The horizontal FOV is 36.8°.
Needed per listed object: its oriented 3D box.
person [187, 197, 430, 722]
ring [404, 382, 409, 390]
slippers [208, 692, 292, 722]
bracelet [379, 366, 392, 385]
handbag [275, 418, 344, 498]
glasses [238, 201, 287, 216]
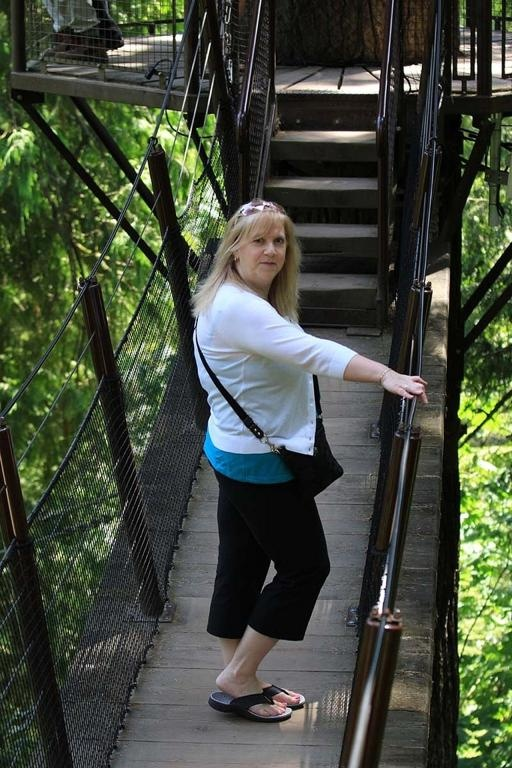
[{"bbox_3d":[0.032,0.335,2.146,0.420,1.628,0.652,1,16,-13],"label":"person"},{"bbox_3d":[0.330,0.005,1.697,0.009,0.013,0.004,-3,-4,22],"label":"ring"},{"bbox_3d":[-0.018,0.990,2.423,0.253,0.082,0.102,4,5,18],"label":"slippers"},{"bbox_3d":[0.292,-0.019,1.748,0.014,0.035,0.031,2,-3,-7],"label":"bracelet"},{"bbox_3d":[0.155,0.210,2.103,0.112,0.182,0.172,18,20,39],"label":"handbag"},{"bbox_3d":[0.015,-0.486,2.123,0.120,0.042,0.150,3,16,-5],"label":"glasses"}]
